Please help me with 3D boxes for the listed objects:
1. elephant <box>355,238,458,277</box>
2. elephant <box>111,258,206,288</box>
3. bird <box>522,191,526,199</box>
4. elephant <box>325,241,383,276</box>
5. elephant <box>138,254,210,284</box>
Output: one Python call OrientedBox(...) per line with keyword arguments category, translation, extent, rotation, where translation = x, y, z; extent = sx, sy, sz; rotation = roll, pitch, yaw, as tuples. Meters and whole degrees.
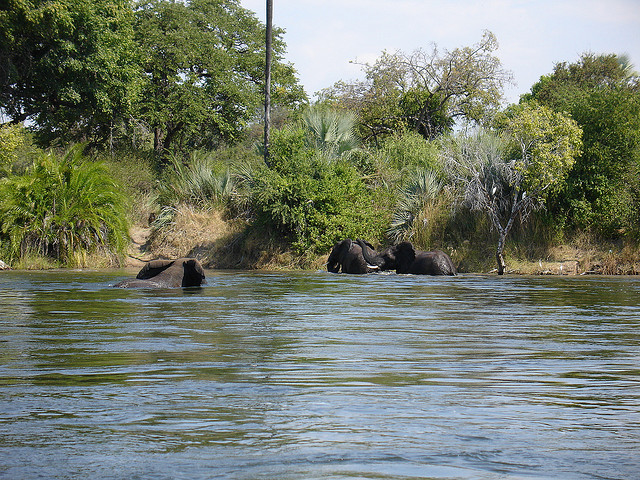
OrientedBox(category="elephant", translation=(2.099, 0.634, 25.203), extent=(2.554, 1.047, 0.785), rotation=(11, 3, 16))
OrientedBox(category="elephant", translation=(-3.181, 0.720, 20.433), extent=(1.550, 0.636, 0.700), rotation=(-6, 15, -41))
OrientedBox(category="bird", translation=(5.419, -1.179, 27.329), extent=(0.090, 0.226, 0.062), rotation=(10, -2, -10))
OrientedBox(category="elephant", translation=(0.783, 0.502, 26.695), extent=(1.437, 0.821, 0.659), rotation=(-1, -10, 13))
OrientedBox(category="elephant", translation=(-2.969, 0.625, 20.664), extent=(1.287, 0.510, 0.829), rotation=(-2, 9, -22))
